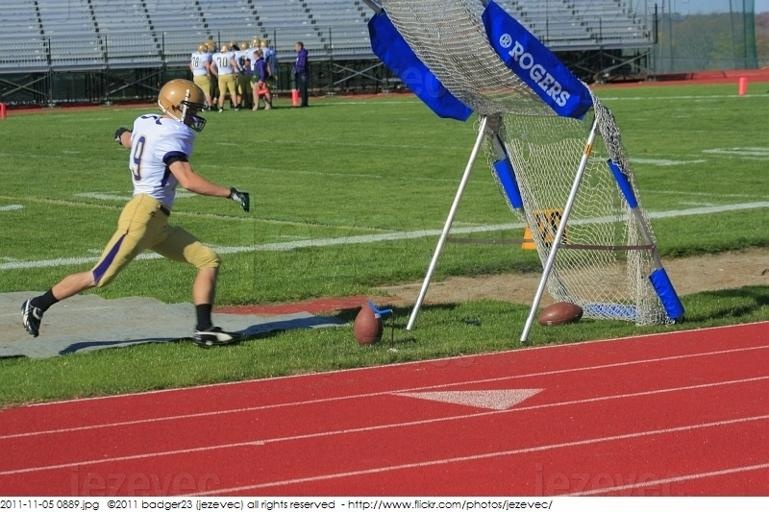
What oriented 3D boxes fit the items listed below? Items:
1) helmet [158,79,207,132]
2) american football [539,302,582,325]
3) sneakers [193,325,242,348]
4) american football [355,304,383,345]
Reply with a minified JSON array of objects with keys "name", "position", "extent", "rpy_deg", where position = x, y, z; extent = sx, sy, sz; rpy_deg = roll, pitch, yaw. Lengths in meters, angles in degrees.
[{"name":"helmet","position":[-1.807,-1.372,9.323],"extent":[0.478,0.430,0.367],"rpy_deg":[12,5,-15]},{"name":"american football","position":[1.680,0.524,9.814],"extent":[0.315,0.186,0.200],"rpy_deg":[-13,-7,-4]},{"name":"sneakers","position":[-1.479,0.708,9.365],"extent":[0.419,0.207,0.157],"rpy_deg":[-3,11,-9]},{"name":"american football","position":[-0.143,0.614,9.374],"extent":[0.268,0.370,0.283],"rpy_deg":[4,6,15]}]
